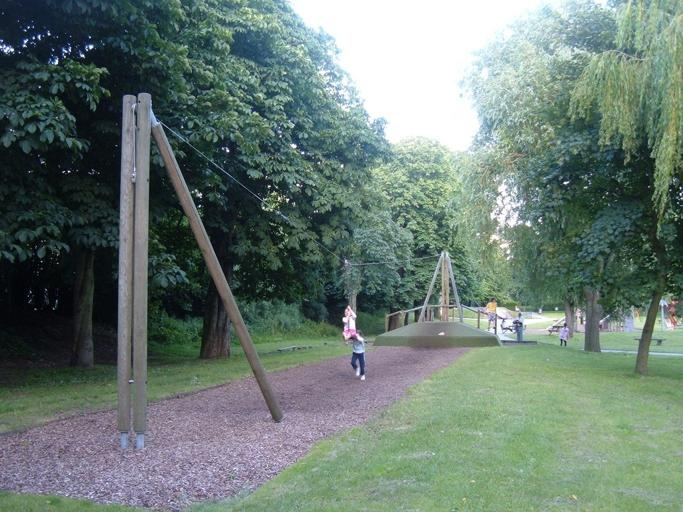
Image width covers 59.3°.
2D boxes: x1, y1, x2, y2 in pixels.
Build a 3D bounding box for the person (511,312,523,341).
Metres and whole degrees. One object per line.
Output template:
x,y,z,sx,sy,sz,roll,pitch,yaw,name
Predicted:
10.183,4.083,34.430,0.418,1.574,2.947,1,1,16,person
